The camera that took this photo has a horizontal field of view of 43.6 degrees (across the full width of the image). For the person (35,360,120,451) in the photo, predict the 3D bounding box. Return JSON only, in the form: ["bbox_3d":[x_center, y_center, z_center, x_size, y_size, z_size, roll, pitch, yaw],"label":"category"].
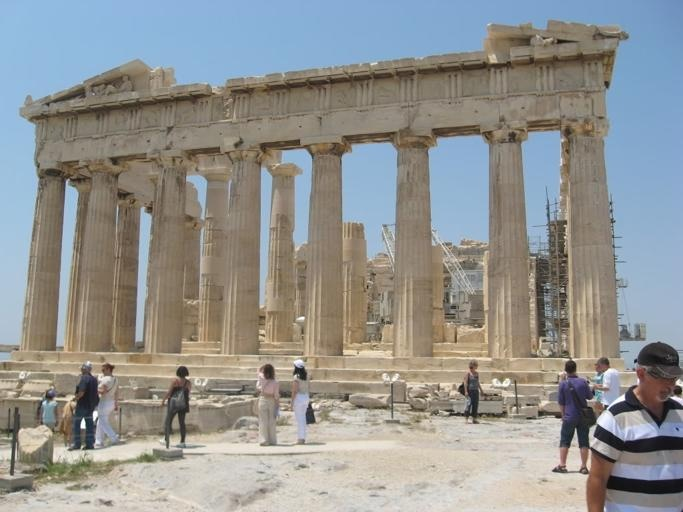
[{"bbox_3d":[-6.412,3.823,22.016,1.278,2.172,1.102,2,-9,-14],"label":"person"}]

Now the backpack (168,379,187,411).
[{"bbox_3d":[-4.096,3.464,21.377,0.400,0.750,0.225,2,-9,-14],"label":"backpack"}]

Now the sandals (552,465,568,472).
[{"bbox_3d":[4.750,4.586,18.519,0.319,0.163,0.258,-3,-9,20],"label":"sandals"}]

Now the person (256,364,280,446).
[{"bbox_3d":[-1.846,3.706,21.445,0.531,2.024,0.979,0,-9,-4],"label":"person"}]

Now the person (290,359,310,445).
[{"bbox_3d":[-1.060,3.700,21.769,0.408,2.094,0.616,0,-9,-1],"label":"person"}]

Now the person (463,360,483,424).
[{"bbox_3d":[3.811,3.941,24.943,0.452,1.803,0.868,-2,-9,7],"label":"person"}]

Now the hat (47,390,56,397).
[{"bbox_3d":[-7.957,3.733,23.317,0.172,0.145,0.209,2,1,-6],"label":"hat"}]
